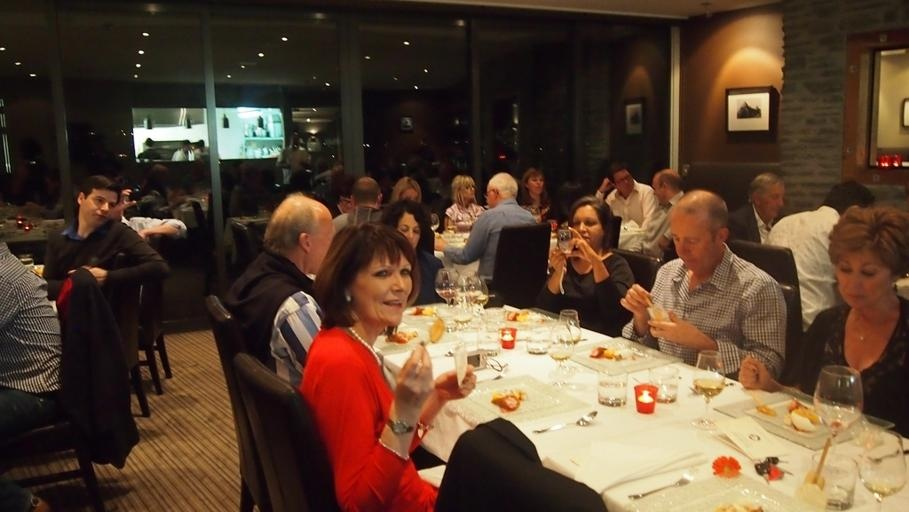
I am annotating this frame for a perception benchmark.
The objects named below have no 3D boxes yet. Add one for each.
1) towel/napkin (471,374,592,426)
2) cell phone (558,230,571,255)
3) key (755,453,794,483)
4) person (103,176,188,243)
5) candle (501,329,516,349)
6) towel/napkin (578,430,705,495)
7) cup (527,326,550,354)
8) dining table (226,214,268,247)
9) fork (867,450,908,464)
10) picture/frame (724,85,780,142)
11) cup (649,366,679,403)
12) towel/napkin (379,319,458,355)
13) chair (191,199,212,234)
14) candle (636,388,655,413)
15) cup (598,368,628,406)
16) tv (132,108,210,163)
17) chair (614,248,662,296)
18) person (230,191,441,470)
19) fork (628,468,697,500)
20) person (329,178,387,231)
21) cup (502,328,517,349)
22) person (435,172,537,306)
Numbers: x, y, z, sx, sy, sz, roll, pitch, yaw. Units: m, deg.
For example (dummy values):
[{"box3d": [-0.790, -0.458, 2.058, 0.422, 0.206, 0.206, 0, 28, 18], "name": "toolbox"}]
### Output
[{"box3d": [0.346, 0.805, 3.445, 0.575, 0.057, 0.559, -5, 12, -12], "name": "towel/napkin"}, {"box3d": [0.855, -0.104, 4.766, 0.119, 0.167, 0.052, 4, -1, 36], "name": "cell phone"}, {"box3d": [1.539, 1.029, 2.938, 0.095, 0.053, 0.120, 1, 3, -27], "name": "key"}, {"box3d": [-3.288, -0.441, 6.473, 0.647, 0.312, 0.862, 20, 14, 0], "name": "person"}, {"box3d": [0.330, 0.549, 3.960, 0.105, 0.110, 0.111, -1, 2, -5], "name": "candle"}, {"box3d": [0.900, 1.002, 2.996, 0.439, 0.077, 0.277, -15, 23, -18], "name": "towel/napkin"}, {"box3d": [0.533, 0.556, 3.958, 0.152, 0.152, 0.148, 0, 5, 0], "name": "cup"}, {"box3d": [-2.447, -0.286, 7.119, 0.274, 0.363, 0.346, -16, 33, -38], "name": "dining table"}, {"box3d": [1.955, 0.925, 2.783, 0.258, 0.037, 0.045, -6, -3, -14], "name": "fork"}, {"box3d": [4.298, -2.058, 8.795, 0.344, 0.791, 0.858, -4, 7, -38], "name": "picture/frame"}, {"box3d": [1.165, 0.723, 3.476, 0.175, 0.190, 0.171, -2, 10, 0], "name": "cup"}, {"box3d": [-0.251, 0.563, 4.044, 0.270, 0.064, 0.264, -8, 22, -13], "name": "towel/napkin"}, {"box3d": [-2.955, -0.436, 7.107, 0.246, 0.325, 0.110, 6, 11, -1], "name": "chair"}, {"box3d": [1.017, 0.792, 3.330, 0.111, 0.119, 0.108, -1, 10, 9], "name": "candle"}, {"box3d": [0.865, 0.737, 3.412, 0.156, 0.169, 0.152, -1, 10, 0], "name": "cup"}, {"box3d": [-3.278, -1.380, 6.968, 0.677, 0.925, 0.040, 0, 4, -17], "name": "tv"}, {"box3d": [1.396, 0.122, 4.705, 0.315, 0.379, 0.269, -10, 16, -30], "name": "chair"}, {"box3d": [-0.926, 0.156, 4.038, 1.053, 2.442, 1.044, -14, 24, -28], "name": "person"}, {"box3d": [0.972, 1.098, 2.899, 0.340, 0.043, 0.057, -8, 39, -8], "name": "fork"}, {"box3d": [-0.986, -0.507, 6.052, 0.774, 0.486, 0.361, -4, 31, -16], "name": "person"}, {"box3d": [0.358, 0.546, 3.977, 0.100, 0.106, 0.113, 1, 3, 6], "name": "cup"}, {"box3d": [0.445, 0.007, 6.449, 1.024, 1.656, 0.907, -9, 13, -27], "name": "person"}]
